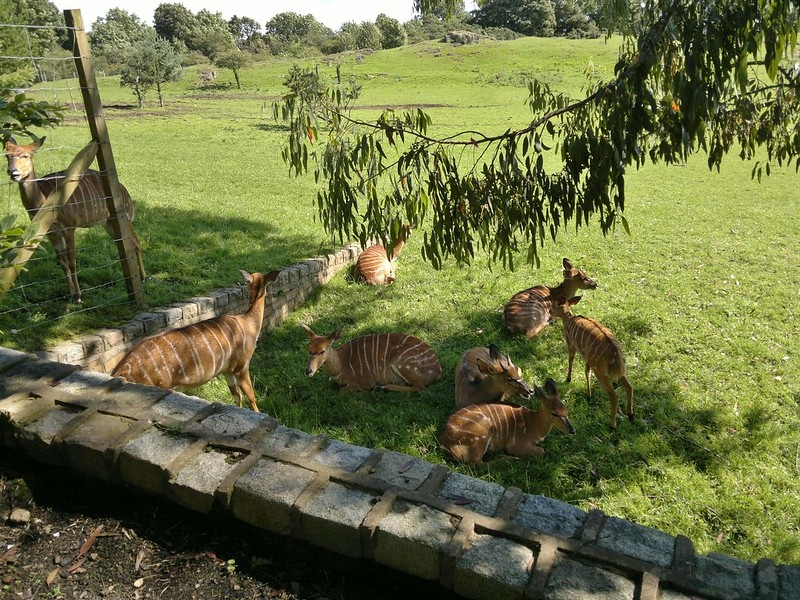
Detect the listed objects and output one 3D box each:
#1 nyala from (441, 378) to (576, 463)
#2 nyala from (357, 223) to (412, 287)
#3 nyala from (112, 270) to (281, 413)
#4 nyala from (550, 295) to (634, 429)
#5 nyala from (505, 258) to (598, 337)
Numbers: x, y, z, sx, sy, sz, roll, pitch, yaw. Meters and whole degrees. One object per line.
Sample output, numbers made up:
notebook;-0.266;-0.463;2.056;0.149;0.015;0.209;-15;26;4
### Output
nyala;1.021;1.171;6.054;1.168;0.764;0.418;1;2;0
nyala;-0.211;-0.675;10.076;0.774;0.931;0.898;16;22;-35
nyala;-1.923;0.633;6.322;0.469;1.546;2.111;11;18;32
nyala;2.010;0.581;7.021;0.322;1.097;1.414;-12;25;-17
nyala;2.005;-0.005;8.573;1.005;0.783;0.402;-29;24;-9
